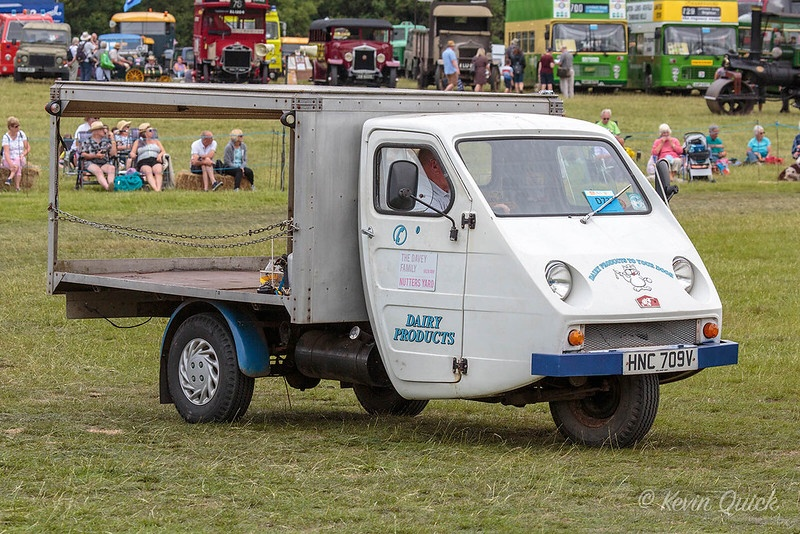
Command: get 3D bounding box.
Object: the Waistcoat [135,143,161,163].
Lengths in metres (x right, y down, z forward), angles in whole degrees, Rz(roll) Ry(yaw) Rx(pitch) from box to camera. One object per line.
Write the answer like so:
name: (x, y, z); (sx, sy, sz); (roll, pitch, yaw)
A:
Waistcoat: (-5.019, -2.328, 32.524); (0.392, 0.348, 0.320); (-2, 9, -6)

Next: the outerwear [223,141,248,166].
outerwear: (-3.278, -2.337, 32.992); (0.444, 0.537, 0.449); (-1, 1, -26)

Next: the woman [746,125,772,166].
woman: (7.849, -2.757, 36.025); (0.640, 1.094, 0.783); (-1, 6, 4)

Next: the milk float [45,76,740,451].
milk float: (-0.603, -0.070, 21.224); (7.968, 4.397, 4.505); (4, 3, 37)

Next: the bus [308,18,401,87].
bus: (-1.467, -6.800, 51.691); (1.812, 1.812, 3.492); (-1, 2, -17)

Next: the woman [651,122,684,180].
woman: (5.428, -2.357, 33.231); (0.566, 1.153, 0.729); (-4, 4, -14)

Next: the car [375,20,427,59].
car: (0.227, -9.163, 65.278); (1.606, 1.813, 2.707); (0, 2, -2)

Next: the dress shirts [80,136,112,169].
dress shirts: (-6.002, -2.343, 32.520); (0.828, 0.912, 0.492); (-1, 4, -18)

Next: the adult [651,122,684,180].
adult: (5.422, -2.356, 33.199); (0.600, 1.178, 0.794); (-3, 1, -7)

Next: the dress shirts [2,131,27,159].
dress shirts: (-7.627, -2.453, 32.397); (0.515, 0.554, 0.293); (-4, 6, -38)

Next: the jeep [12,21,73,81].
jeep: (-11.449, -6.785, 52.716); (1.745, 2.199, 3.567); (1, 2, -13)

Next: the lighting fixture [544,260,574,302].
lighting fixture: (1.803, 0.108, 18.689); (0.311, 0.394, 0.192); (1, 14, 7)

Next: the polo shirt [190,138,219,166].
polo shirt: (-3.898, -2.357, 32.786); (0.499, 0.587, 0.473); (-1, 5, -32)

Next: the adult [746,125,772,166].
adult: (7.867, -2.723, 36.022); (0.561, 0.824, 0.500); (-16, 19, -35)

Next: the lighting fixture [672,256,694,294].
lighting fixture: (3.307, 0.049, 19.162); (0.233, 0.395, 0.189); (-12, 18, -38)

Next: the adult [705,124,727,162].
adult: (6.636, -2.654, 34.691); (0.417, 0.773, 0.460); (3, 7, 40)
